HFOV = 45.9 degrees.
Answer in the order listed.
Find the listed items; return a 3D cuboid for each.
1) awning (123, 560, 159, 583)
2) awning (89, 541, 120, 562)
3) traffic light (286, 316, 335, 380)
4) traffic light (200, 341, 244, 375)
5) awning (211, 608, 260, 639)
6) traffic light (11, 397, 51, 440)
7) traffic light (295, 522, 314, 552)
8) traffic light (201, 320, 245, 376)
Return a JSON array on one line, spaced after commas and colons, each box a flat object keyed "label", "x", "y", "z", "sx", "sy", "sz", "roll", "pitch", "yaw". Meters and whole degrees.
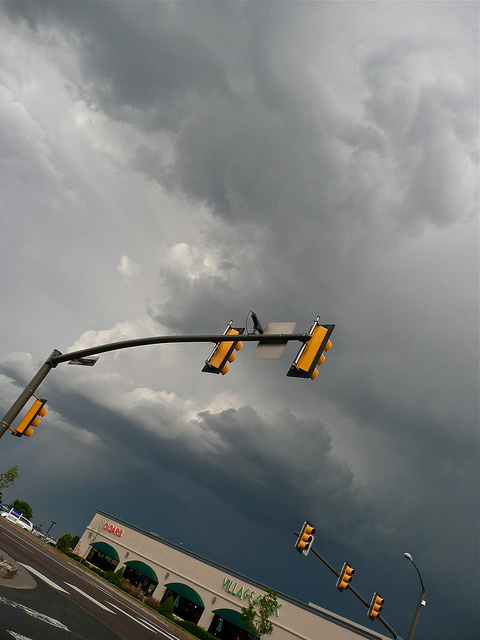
[{"label": "awning", "x": -10.739, "y": 27.622, "z": 62.975, "sx": 5.192, "sy": 0.854, "sz": 0.337, "roll": 3, "pitch": -36, "yaw": 46}, {"label": "awning", "x": -15.928, "y": 27.574, "z": 68.129, "sx": 5.363, "sy": 0.983, "sz": 0.436, "roll": -2, "pitch": -40, "yaw": 50}, {"label": "traffic light", "x": 2.450, "y": 1.033, "z": 18.856, "sx": 0.834, "sy": 2.153, "sz": 0.598, "roll": 27, "pitch": -24, "yaw": 8}, {"label": "traffic light", "x": -0.633, "y": 1.298, "z": 19.754, "sx": 0.783, "sy": 1.480, "sz": 0.522, "roll": 30, "pitch": -24, "yaw": 2}, {"label": "awning", "x": -0.801, "y": 28.208, "z": 54.024, "sx": 4.351, "sy": 1.192, "sz": 0.730, "roll": -2, "pitch": -40, "yaw": 50}, {"label": "traffic light", "x": -7.784, "y": 3.827, "z": 21.290, "sx": 0.517, "sy": 1.497, "sz": 0.828, "roll": 38, "pitch": 0, "yaw": -37}, {"label": "traffic light", "x": 3.457, "y": 11.535, "z": 29.955, "sx": 0.685, "sy": 1.470, "sz": 0.705, "roll": 24, "pitch": -25, "yaw": 15}, {"label": "traffic light", "x": -0.474, "y": 1.020, "z": 19.738, "sx": 0.810, "sy": 1.947, "sz": 0.733, "roll": 31, "pitch": -24, "yaw": -1}]
